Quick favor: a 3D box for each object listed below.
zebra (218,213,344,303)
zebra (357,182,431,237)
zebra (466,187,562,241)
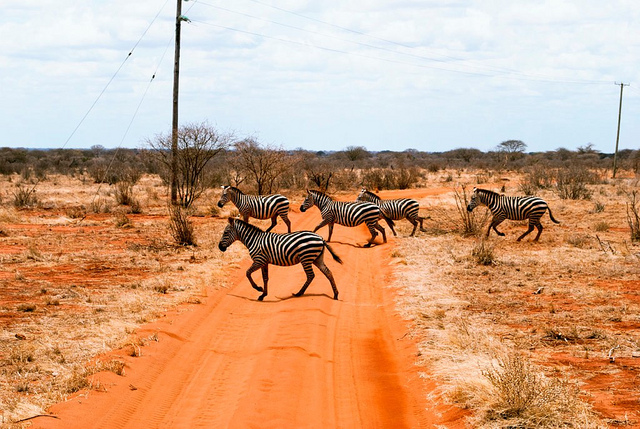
[{"bbox_3d":[-1.114,1.391,20.155,3.469,2.413,1.462,2,3,9],"label":"zebra"},{"bbox_3d":[3.043,-0.040,26.799,3.169,2.062,0.817,-1,-11,1],"label":"zebra"},{"bbox_3d":[7.594,0.026,26.378,2.785,2.031,1.174,2,3,20],"label":"zebra"}]
